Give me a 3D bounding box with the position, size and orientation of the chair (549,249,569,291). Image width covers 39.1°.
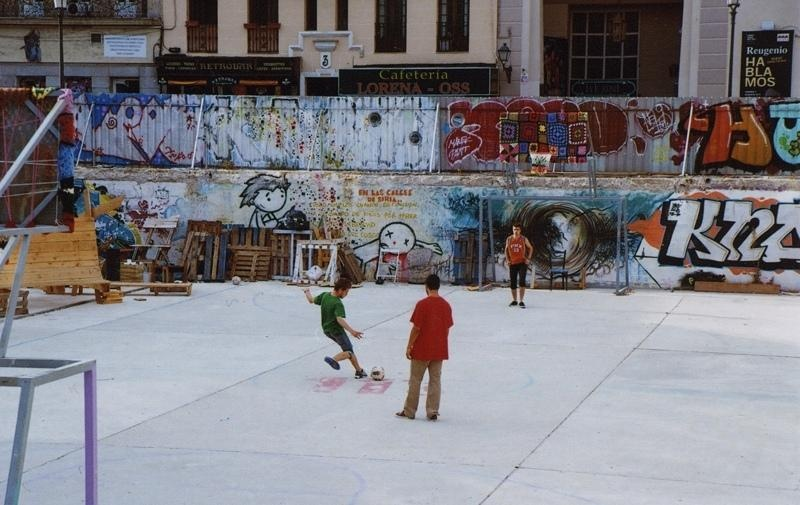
[{"bbox_3d":[5.002,0.528,35.296,0.609,1.131,0.507,0,8,6],"label":"chair"}]

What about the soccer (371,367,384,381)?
[{"bbox_3d":[-0.487,2.758,25.761,0.360,0.275,0.286,-3,9,-14],"label":"soccer"}]

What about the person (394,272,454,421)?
[{"bbox_3d":[0.567,2.026,24.098,0.855,2.995,0.994,4,10,30],"label":"person"}]

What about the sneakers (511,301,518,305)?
[{"bbox_3d":[3.283,1.450,32.242,0.238,0.119,0.205,-1,8,-1],"label":"sneakers"}]

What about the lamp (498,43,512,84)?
[{"bbox_3d":[4.123,-7.330,44.042,0.542,1.506,0.361,-2,8,-4],"label":"lamp"}]
